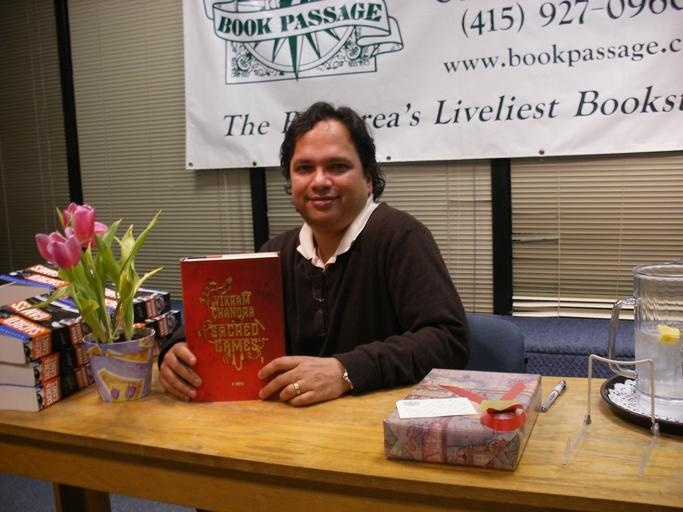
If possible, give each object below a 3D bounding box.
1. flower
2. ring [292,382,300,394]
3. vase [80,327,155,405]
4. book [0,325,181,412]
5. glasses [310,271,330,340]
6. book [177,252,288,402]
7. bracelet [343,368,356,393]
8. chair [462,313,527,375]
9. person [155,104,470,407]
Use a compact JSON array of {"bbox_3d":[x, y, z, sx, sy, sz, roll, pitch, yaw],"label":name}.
[{"bbox_3d":[-0.600,0.049,1.324,0.288,0.337,0.292,4,13,10],"label":"flower"},{"bbox_3d":[-0.104,0.308,1.229,0.018,0.021,0.018,-10,-11,-2],"label":"ring"},{"bbox_3d":[-0.538,0.263,1.301,0.159,0.130,0.151,1,4,14],"label":"vase"},{"bbox_3d":[-0.636,0.261,1.291,0.262,0.095,0.203,-2,1,-9],"label":"book"},{"bbox_3d":[-0.069,0.151,1.588,0.042,0.200,0.043,5,3,18],"label":"glasses"},{"bbox_3d":[-0.261,0.180,1.264,0.319,0.472,0.079,-2,2,2],"label":"book"},{"bbox_3d":[0.017,0.296,1.259,0.028,0.048,0.035,-25,14,-13],"label":"bracelet"},{"bbox_3d":[0.487,0.264,1.689,0.175,0.239,0.199,-1,-3,16],"label":"chair"},{"bbox_3d":[-0.073,0.003,1.609,0.882,0.831,0.774,-1,1,29],"label":"person"}]
